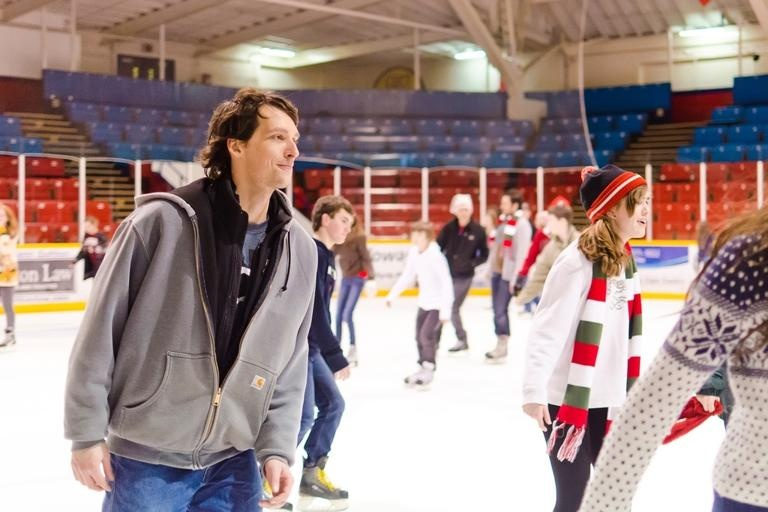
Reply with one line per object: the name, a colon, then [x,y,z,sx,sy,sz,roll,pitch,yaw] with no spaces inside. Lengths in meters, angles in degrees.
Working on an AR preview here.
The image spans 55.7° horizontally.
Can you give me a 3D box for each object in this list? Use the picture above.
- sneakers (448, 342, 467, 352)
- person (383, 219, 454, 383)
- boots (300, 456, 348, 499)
sneakers: [0.937,1.198,9.606,0.106,0.126,0.315,7,-8,-42]
person: [0.410,0.504,7.994,0.645,1.769,0.769,-1,5,-13]
boots: [-0.348,1.494,4.917,0.448,0.330,0.163,3,-4,-3]
